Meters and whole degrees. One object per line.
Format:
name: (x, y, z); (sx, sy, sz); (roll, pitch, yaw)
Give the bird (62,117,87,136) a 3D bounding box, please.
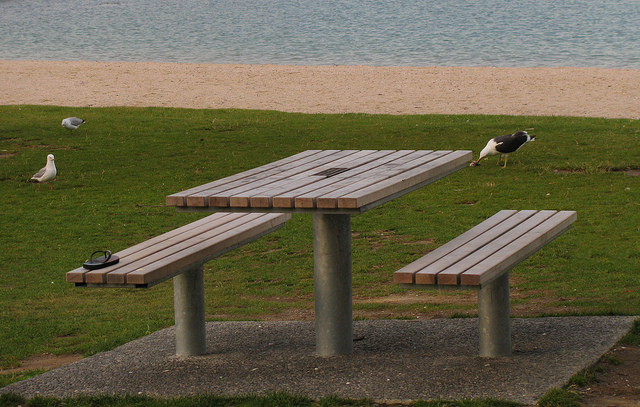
bird: (-13.671, -4.303, 72.093); (1.107, 0.866, 1.012); (-18, 27, -34)
